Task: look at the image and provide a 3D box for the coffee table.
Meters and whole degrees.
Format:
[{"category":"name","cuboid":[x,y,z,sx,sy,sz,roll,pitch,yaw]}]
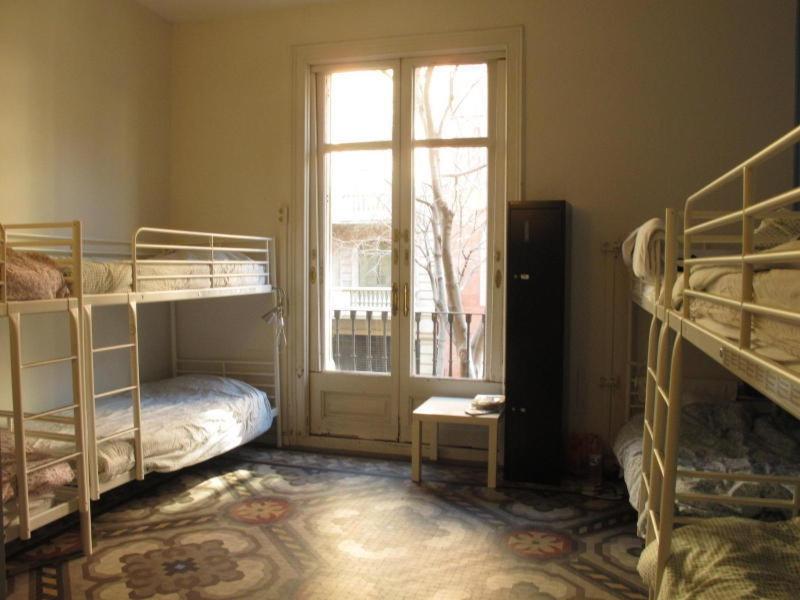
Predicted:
[{"category":"coffee table","cuboid":[0.463,1.107,5.246,0.716,0.572,0.694,2,10,10]}]
